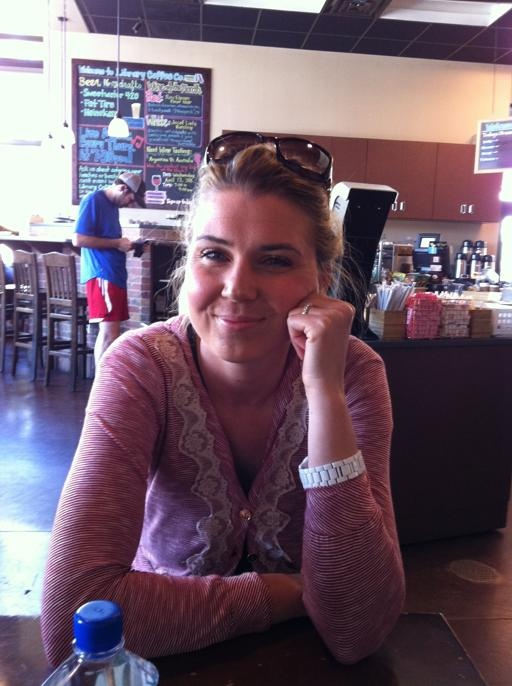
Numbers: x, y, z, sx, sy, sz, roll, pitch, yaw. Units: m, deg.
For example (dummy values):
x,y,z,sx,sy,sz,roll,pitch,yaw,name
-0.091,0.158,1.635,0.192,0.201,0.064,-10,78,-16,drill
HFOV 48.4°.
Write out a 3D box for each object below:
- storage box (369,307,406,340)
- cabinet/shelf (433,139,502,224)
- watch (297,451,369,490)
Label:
x,y,z,sx,sy,sz,roll,pitch,yaw,name
0.451,-0.072,1.959,0.118,0.103,0.112,-2,8,-12,storage box
2.183,-1.684,5.897,0.956,0.831,0.465,0,3,-3,cabinet/shelf
0.118,0.194,0.902,0.085,0.054,0.093,-14,-3,28,watch
